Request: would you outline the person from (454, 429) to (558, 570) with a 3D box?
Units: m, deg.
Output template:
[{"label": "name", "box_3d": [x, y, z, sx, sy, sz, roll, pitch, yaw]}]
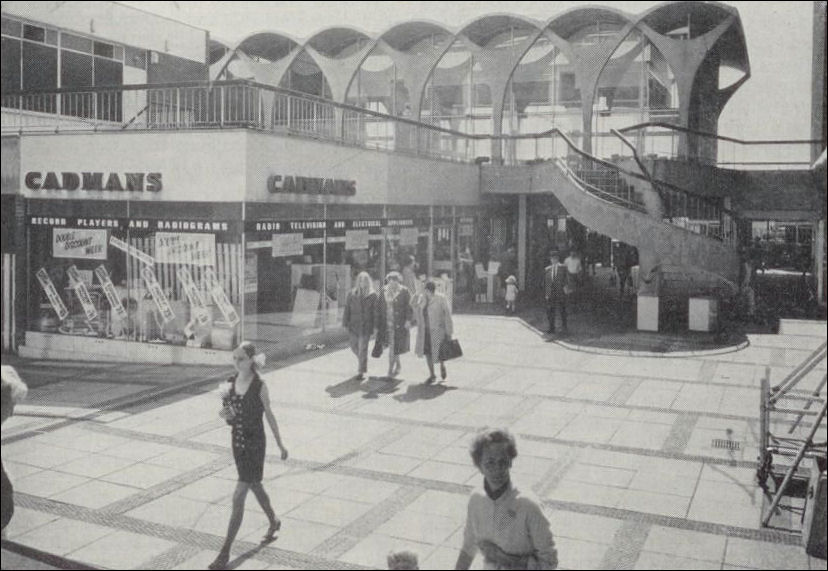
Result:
[{"label": "person", "box_3d": [0.932, 2.247, 8.706, 1.019, 1.487, 0.427, 9, 16, 34]}]

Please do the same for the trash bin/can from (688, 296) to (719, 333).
[{"label": "trash bin/can", "box_3d": [6.241, 0.634, 18.659, 0.629, 0.720, 0.555, 4, 14, 18]}]

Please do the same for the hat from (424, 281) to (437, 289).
[{"label": "hat", "box_3d": [0.290, -0.009, 15.874, 0.144, 0.155, 0.036, 10, -6, 11]}]

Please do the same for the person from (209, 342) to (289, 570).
[{"label": "person", "box_3d": [-2.060, 2.018, 10.515, 1.004, 2.697, 0.600, -12, 17, -40]}]

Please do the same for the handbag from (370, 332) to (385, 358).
[{"label": "handbag", "box_3d": [-0.674, 1.109, 16.074, 0.216, 0.444, 0.366, 2, 14, 10]}]

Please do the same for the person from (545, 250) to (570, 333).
[{"label": "person", "box_3d": [3.299, 0.182, 19.873, 0.488, 1.934, 0.646, 1, 13, 6]}]

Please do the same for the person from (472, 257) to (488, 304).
[{"label": "person", "box_3d": [1.833, -0.069, 23.749, 0.275, 1.109, 0.793, 6, 15, 25]}]

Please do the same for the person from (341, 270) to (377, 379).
[{"label": "person", "box_3d": [-1.015, 0.787, 16.228, 0.620, 2.032, 0.514, -4, 13, -13]}]

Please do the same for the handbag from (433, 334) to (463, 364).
[{"label": "handbag", "box_3d": [0.599, 1.189, 15.948, 0.469, 0.461, 0.184, -14, 14, -19]}]
